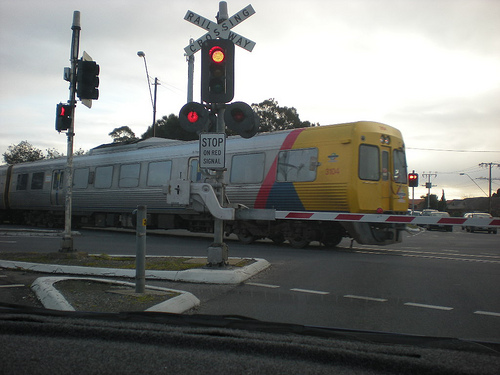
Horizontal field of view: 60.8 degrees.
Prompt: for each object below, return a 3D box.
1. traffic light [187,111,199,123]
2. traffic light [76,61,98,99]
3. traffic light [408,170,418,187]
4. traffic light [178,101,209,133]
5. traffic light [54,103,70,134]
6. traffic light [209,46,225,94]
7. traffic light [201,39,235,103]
[{"bbox_3d":[-1.043,-1.268,7.660,0.208,0.202,0.035,1,-6,11],"label":"traffic light"},{"bbox_3d":[-3.958,-2.603,10.340,0.528,0.911,0.294,5,-7,-25],"label":"traffic light"},{"bbox_3d":[5.515,-0.231,14.374,0.292,0.435,0.538,0,-7,15],"label":"traffic light"},{"bbox_3d":[-1.043,-1.263,7.695,0.557,0.475,0.204,-1,-7,25],"label":"traffic light"},{"bbox_3d":[-4.548,-1.693,10.308,0.470,0.778,0.304,-1,-7,27],"label":"traffic light"},{"bbox_3d":[-0.579,-2.076,7.637,0.353,0.148,1.050,-2,-48,-7],"label":"traffic light"},{"bbox_3d":[-0.585,-2.109,7.657,0.590,0.144,1.241,-2,-45,-6],"label":"traffic light"}]
